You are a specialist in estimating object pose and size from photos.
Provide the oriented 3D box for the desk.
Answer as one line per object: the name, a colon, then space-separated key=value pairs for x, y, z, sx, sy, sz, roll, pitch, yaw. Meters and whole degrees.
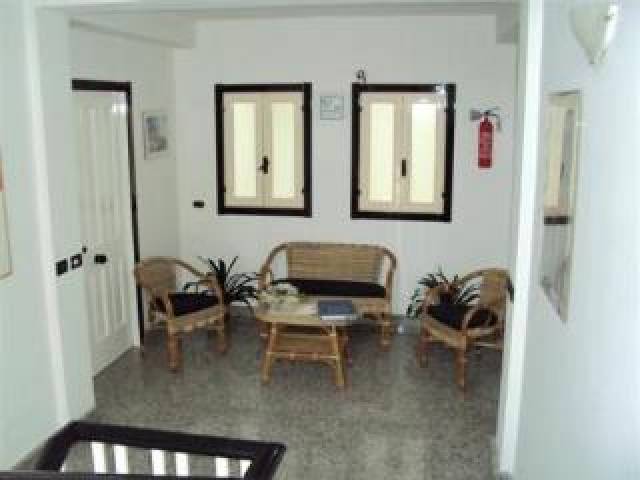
desk: x=-0.100 y=1.068 z=5.327 sx=0.837 sy=0.595 sz=0.899 roll=2 pitch=6 yaw=9

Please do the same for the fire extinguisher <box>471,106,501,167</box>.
fire extinguisher: x=1.976 y=-1.237 z=5.959 sx=0.363 sy=0.718 sz=0.225 roll=4 pitch=14 yaw=15

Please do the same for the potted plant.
potted plant: x=-1.237 y=0.627 z=6.492 sx=1.028 sy=0.769 sz=0.995 roll=6 pitch=8 yaw=8

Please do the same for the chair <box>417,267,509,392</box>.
chair: x=1.561 y=0.872 z=5.242 sx=0.914 sy=1.095 sz=0.917 roll=0 pitch=10 yaw=9

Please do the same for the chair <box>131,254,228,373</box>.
chair: x=-1.666 y=0.763 z=5.647 sx=0.838 sy=1.078 sz=0.833 roll=7 pitch=11 yaw=33
